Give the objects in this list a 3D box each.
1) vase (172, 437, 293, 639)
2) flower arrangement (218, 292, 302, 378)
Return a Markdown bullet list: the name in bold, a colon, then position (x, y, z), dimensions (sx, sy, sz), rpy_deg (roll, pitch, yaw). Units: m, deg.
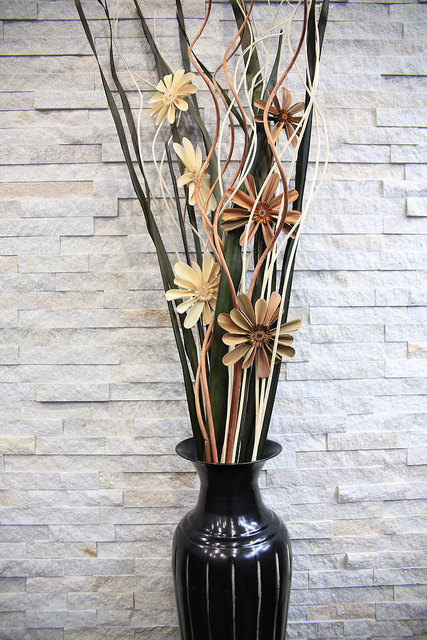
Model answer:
- **vase**: position (0.035, 0.401, 1.817), dimensions (0.209, 0.323, 0.138), rpy_deg (2, 12, 0)
- **flower arrangement**: position (0.096, 0.023, 1.775), dimensions (0.046, 0.144, 0.165), rpy_deg (-15, 17, 17)
